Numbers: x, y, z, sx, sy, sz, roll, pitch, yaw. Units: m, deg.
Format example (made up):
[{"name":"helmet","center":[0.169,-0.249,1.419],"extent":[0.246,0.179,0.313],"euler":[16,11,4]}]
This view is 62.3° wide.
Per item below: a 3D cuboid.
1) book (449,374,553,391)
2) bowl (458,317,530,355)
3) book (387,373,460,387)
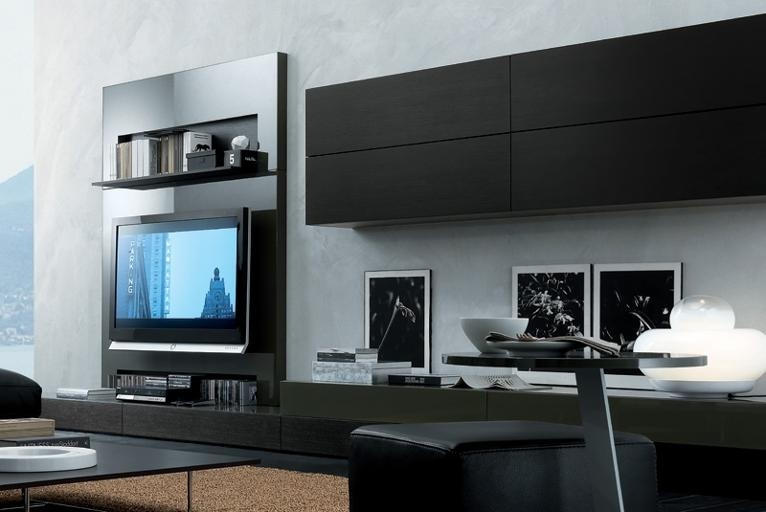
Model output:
[{"name":"book","center":[0.757,0.790,3.975],"extent":[0.572,0.079,0.367],"euler":[-2,-6,21]},{"name":"bowl","center":[0.341,0.232,1.914],"extent":[0.138,0.069,0.137],"euler":[0,-5,0]},{"name":"book","center":[0.268,0.812,4.149],"extent":[0.525,0.075,0.168],"euler":[-4,-7,34]}]
